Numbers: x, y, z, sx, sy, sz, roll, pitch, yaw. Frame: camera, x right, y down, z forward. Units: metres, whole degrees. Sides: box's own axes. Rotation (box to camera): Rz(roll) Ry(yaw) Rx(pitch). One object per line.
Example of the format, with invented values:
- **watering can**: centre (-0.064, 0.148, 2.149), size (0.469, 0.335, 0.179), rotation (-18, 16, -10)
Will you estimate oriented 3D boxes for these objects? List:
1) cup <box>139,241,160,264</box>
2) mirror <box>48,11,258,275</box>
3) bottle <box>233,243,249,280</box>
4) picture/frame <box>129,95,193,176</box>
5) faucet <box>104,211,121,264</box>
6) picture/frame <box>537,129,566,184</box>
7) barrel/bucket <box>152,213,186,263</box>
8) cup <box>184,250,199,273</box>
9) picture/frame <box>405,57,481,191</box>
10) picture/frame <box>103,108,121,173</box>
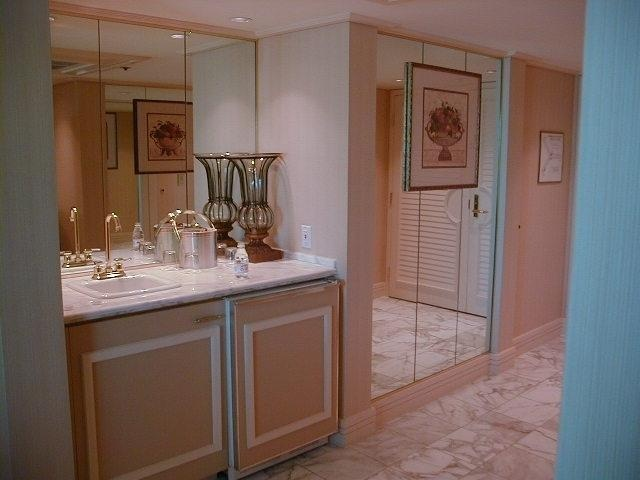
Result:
- **cup**: centre (-0.989, 0.074, 2.920), size (0.070, 0.125, 0.125), rotation (3, 3, 1)
- **mirror**: centre (-0.948, -0.534, 2.772), size (0.055, 1.515, 1.310), rotation (6, 9, 39)
- **bottle**: centre (-0.428, 0.103, 2.740), size (0.068, 0.179, 0.169), rotation (-1, 10, -8)
- **picture/frame**: centre (-0.932, -0.615, 2.891), size (0.427, 0.534, 0.035), rotation (-9, 14, -40)
- **faucet**: centre (-1.152, -0.014, 2.767), size (0.058, 0.270, 0.111), rotation (3, 10, 15)
- **picture/frame**: centre (2.003, -0.738, 4.351), size (0.036, 0.492, 0.469), rotation (3, 7, 39)
- **barrel/bucket**: centre (-0.826, 0.003, 2.966), size (0.155, 0.303, 0.289), rotation (2, 7, 4)
- **cup**: centre (-0.721, 0.118, 2.823), size (0.097, 0.097, 0.099), rotation (2, 6, 0)
- **picture/frame**: centre (0.794, -0.781, 3.310), size (0.858, 0.850, 0.059), rotation (-9, 14, -43)
- **picture/frame**: centre (-1.136, -0.544, 2.745), size (0.017, 0.304, 0.076), rotation (8, 12, 37)
